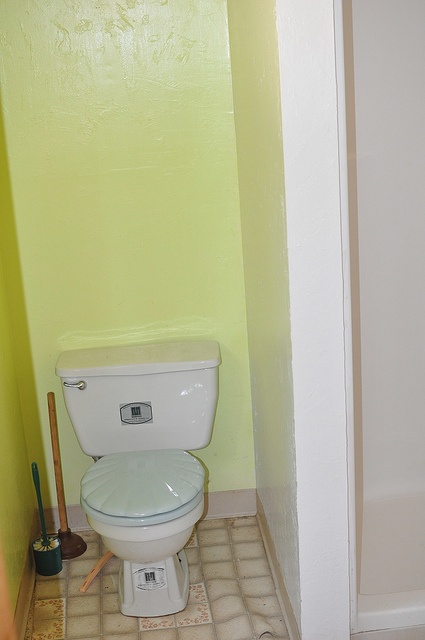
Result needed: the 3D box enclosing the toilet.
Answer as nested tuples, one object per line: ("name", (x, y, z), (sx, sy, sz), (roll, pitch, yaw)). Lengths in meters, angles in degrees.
("toilet", (-0.228, 0.473, 1.653), (0.461, 0.652, 0.625), (-2, 11, 1))
